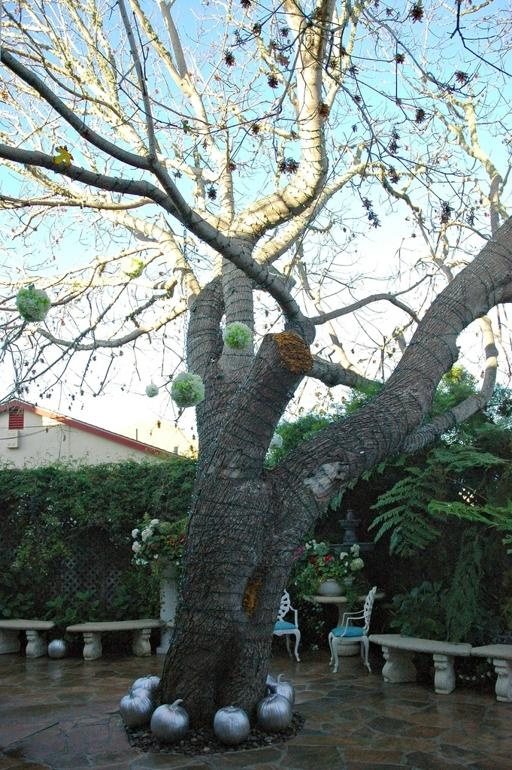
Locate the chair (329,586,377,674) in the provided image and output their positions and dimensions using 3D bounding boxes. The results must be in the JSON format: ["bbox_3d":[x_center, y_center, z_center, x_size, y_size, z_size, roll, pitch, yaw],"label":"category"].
[{"bbox_3d":[1.201,2.963,8.028,0.574,0.989,1.532,1,-12,7],"label":"chair"}]

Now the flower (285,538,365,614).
[{"bbox_3d":[1.015,2.612,8.922,1.220,0.784,1.088,5,-16,4],"label":"flower"}]
